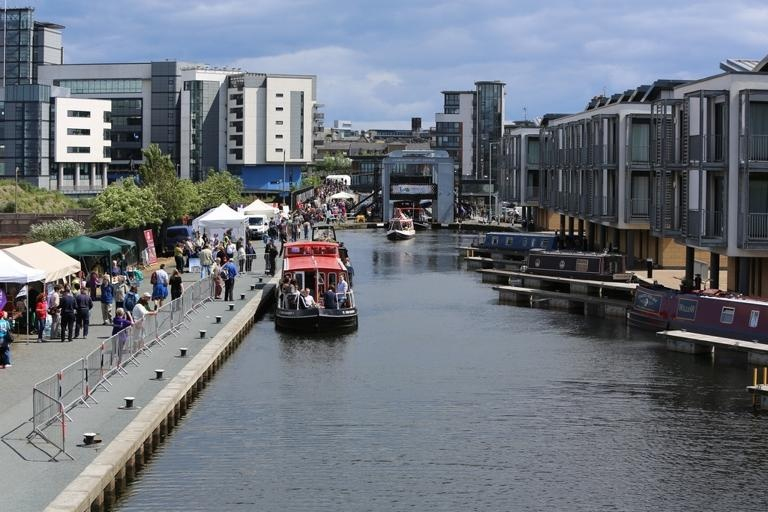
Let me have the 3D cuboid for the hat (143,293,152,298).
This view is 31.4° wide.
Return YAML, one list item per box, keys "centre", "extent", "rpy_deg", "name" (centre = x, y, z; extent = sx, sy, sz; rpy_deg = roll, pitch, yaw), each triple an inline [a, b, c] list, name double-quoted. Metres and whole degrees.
- centre: [-10.739, 1.764, 62.000]
  extent: [0.379, 0.163, 0.500]
  rpy_deg: [6, 2, -24]
  name: "hat"

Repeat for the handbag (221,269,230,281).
- centre: [-8.360, 0.972, 71.871]
  extent: [0.181, 0.614, 0.726]
  rpy_deg: [-4, 8, -38]
  name: "handbag"

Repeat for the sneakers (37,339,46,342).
- centre: [-15.004, 3.689, 59.900]
  extent: [0.157, 0.169, 0.415]
  rpy_deg: [5, -11, -36]
  name: "sneakers"

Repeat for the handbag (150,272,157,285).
- centre: [-11.288, 1.101, 67.068]
  extent: [0.466, 0.583, 0.543]
  rpy_deg: [-1, 9, -4]
  name: "handbag"

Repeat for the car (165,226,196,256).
- centre: [-13.619, -1.097, 89.727]
  extent: [1.642, 1.241, 2.452]
  rpy_deg: [-1, 6, 0]
  name: "car"

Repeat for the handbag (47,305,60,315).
- centre: [-14.641, 2.370, 60.497]
  extent: [0.283, 0.440, 0.849]
  rpy_deg: [-4, 7, -38]
  name: "handbag"
